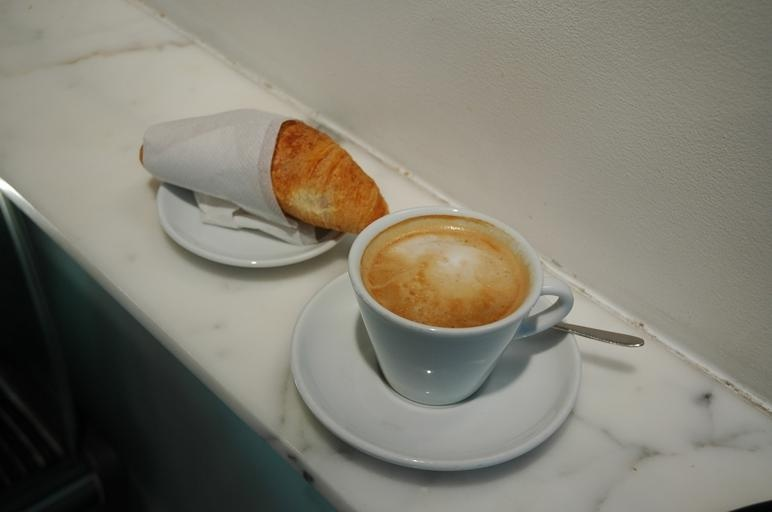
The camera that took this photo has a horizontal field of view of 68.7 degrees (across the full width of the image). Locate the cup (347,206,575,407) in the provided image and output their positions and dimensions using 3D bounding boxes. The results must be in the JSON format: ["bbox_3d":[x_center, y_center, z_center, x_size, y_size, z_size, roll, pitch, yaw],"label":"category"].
[{"bbox_3d":[0.065,0.060,0.621,0.210,0.139,0.186,1,51,-3],"label":"cup"}]
